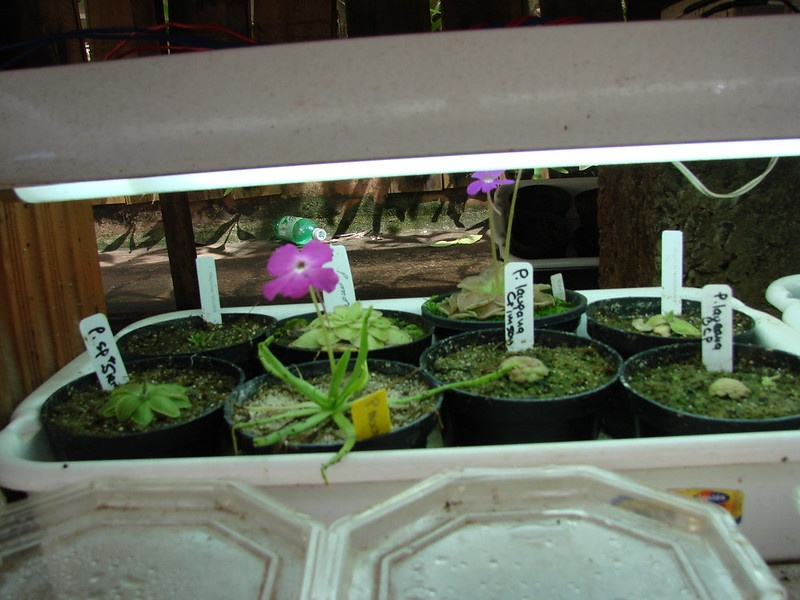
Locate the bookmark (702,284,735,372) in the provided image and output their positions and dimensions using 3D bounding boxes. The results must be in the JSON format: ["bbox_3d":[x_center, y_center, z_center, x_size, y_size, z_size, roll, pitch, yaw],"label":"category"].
[{"bbox_3d":[0.588,0.054,1.233,0.059,0.158,0.081,7,23,18],"label":"bookmark"}]

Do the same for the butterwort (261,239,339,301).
[{"bbox_3d":[-0.134,-0.044,0.916,0.094,0.079,0.052,-1,-2,-7],"label":"butterwort"}]

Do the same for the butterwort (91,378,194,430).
[{"bbox_3d":[-0.429,0.174,1.139,0.139,0.077,0.146,-6,16,-13],"label":"butterwort"}]
